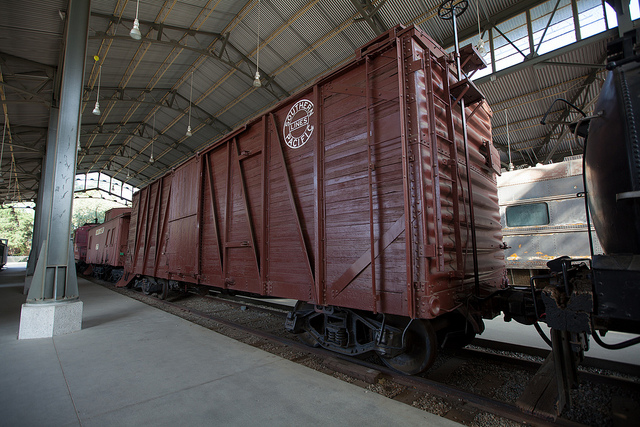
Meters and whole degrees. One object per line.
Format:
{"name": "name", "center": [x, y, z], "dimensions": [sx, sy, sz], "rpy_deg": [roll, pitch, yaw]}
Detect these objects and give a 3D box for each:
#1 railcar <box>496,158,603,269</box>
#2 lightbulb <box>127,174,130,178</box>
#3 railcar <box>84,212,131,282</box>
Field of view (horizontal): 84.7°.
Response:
{"name": "railcar", "center": [6.363, 0.086, 9.776], "dimensions": [2.508, 3.156, 3.546], "rpy_deg": [-1, -5, 15]}
{"name": "lightbulb", "center": [-23.052, -4.473, 42.136], "dimensions": [0.291, 0.705, 0.295], "rpy_deg": [3, 9, 41]}
{"name": "railcar", "center": [-12.109, 2.240, 20.992], "dimensions": [6.738, 3.456, 2.113], "rpy_deg": [-9, -14, 43]}
